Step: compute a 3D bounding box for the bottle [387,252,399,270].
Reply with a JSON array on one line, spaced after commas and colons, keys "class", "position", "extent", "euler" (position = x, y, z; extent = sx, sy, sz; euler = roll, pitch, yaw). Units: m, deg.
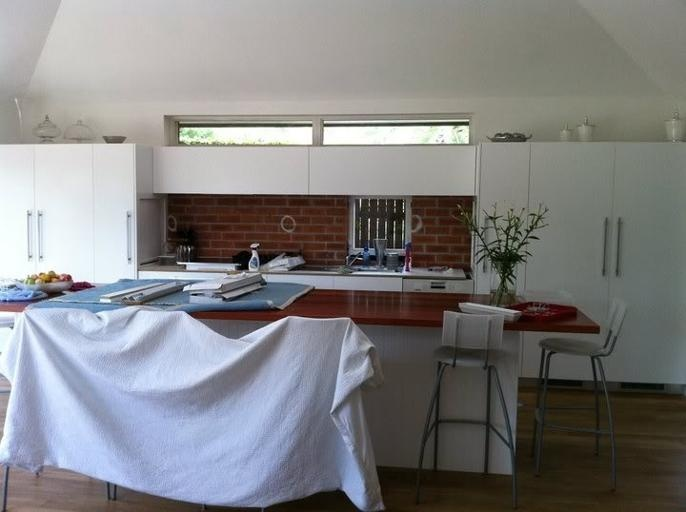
[{"class": "bottle", "position": [0.505, 0.059, 6.175], "extent": [0.143, 0.184, 0.132], "euler": [0, 3, 0]}]

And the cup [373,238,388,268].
[{"class": "cup", "position": [0.384, -0.034, 6.303], "extent": [0.096, 0.280, 0.167], "euler": [-1, 11, -6]}]

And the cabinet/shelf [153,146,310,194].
[{"class": "cabinet/shelf", "position": [-1.115, -0.886, 6.205], "extent": [1.545, 0.462, 0.318], "euler": [0, 11, -3]}]

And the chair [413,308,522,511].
[{"class": "chair", "position": [0.837, 0.940, 3.979], "extent": [0.668, 1.252, 0.525], "euler": [2, 11, 9]}]

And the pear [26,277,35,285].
[{"class": "pear", "position": [-2.265, 0.184, 4.387], "extent": [0.044, 0.025, 0.045], "euler": [3, 6, -3]}]

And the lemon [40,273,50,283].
[{"class": "lemon", "position": [-2.204, 0.162, 4.474], "extent": [0.056, 0.032, 0.057], "euler": [2, 5, 14]}]

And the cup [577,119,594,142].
[{"class": "cup", "position": [2.330, -1.215, 5.814], "extent": [0.147, 0.219, 0.444], "euler": [5, 12, 20]}]

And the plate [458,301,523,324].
[{"class": "plate", "position": [0.951, 0.365, 3.953], "extent": [0.406, 0.076, 0.159], "euler": [5, 12, 23]}]

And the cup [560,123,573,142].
[{"class": "cup", "position": [2.179, -1.204, 5.895], "extent": [0.122, 0.156, 0.347], "euler": [4, 12, 20]}]

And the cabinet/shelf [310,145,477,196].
[{"class": "cabinet/shelf", "position": [0.480, -0.852, 5.998], "extent": [1.623, 0.479, 0.347], "euler": [0, 11, -3]}]

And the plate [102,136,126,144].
[{"class": "plate", "position": [-2.391, -1.228, 6.360], "extent": [0.221, 0.081, 0.511], "euler": [-4, 12, -20]}]
